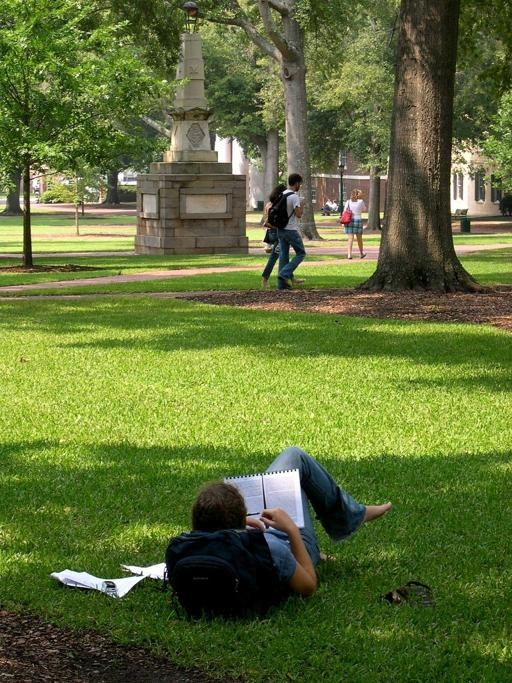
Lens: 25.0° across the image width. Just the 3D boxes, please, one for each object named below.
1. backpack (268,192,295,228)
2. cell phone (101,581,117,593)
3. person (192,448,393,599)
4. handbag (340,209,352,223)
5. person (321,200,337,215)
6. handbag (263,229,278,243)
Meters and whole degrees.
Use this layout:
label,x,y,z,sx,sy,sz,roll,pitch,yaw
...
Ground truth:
label,x,y,z,sx,sy,sz,roll,pitch,yaw
backpack,0.372,-1.877,16.461,0.282,0.490,0.337,4,22,-32
cell phone,-0.651,1.096,5.137,0.041,0.031,0.064,3,-12,11
person,0.149,0.754,5.009,0.391,0.559,0.926,7,24,32
handbag,1.956,-2.684,25.070,0.248,0.325,0.435,0,9,6
person,5.265,-9.570,82.848,0.852,1.199,2.893,-1,-4,7
handbag,0.213,-1.561,17.230,0.176,0.284,0.309,0,3,9
